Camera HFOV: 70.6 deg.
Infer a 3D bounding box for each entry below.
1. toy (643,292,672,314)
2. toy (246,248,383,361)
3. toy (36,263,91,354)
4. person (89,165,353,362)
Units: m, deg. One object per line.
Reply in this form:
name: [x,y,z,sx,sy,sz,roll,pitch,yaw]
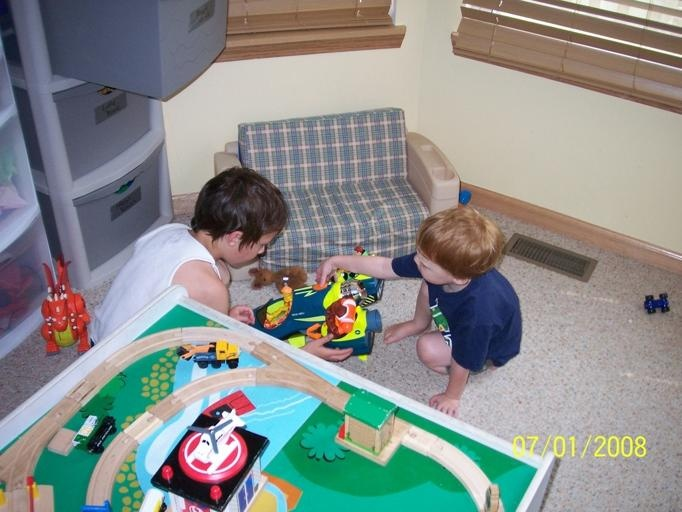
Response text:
toy: [1.838,0.277,2.819,0.137,0.055,0.116,-3,84,14]
toy: [-0.109,0.225,2.185,0.475,0.198,0.438,2,65,7]
toy: [-1.413,0.273,2.432,0.232,0.465,0.175,-2,21,-6]
person: [-0.499,0.022,1.996,0.870,0.695,0.619,0,25,-23]
